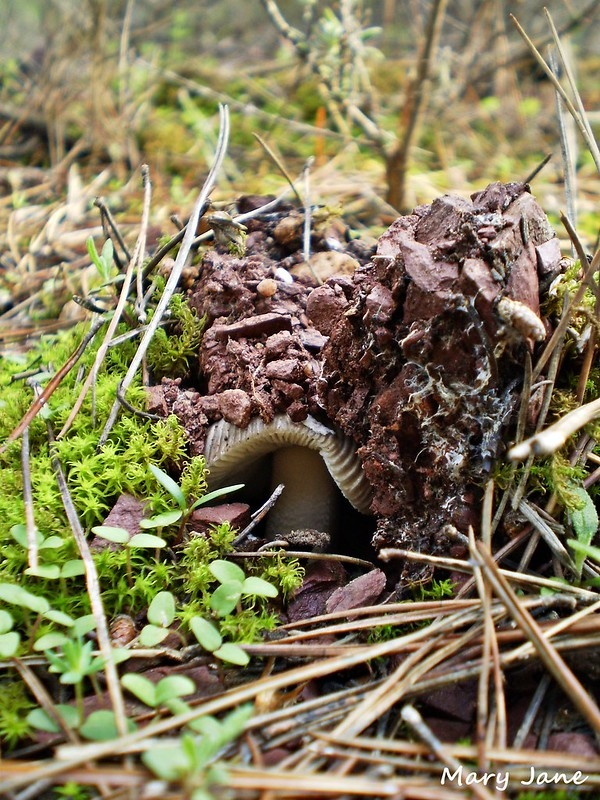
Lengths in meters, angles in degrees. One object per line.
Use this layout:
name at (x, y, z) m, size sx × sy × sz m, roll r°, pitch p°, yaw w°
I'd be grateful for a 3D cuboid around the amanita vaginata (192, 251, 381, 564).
amanita vaginata at (0.004, 0.089, 2.145) m, size 0.448 × 0.483 × 0.317 m, roll -4°, pitch 12°, yaw -32°
